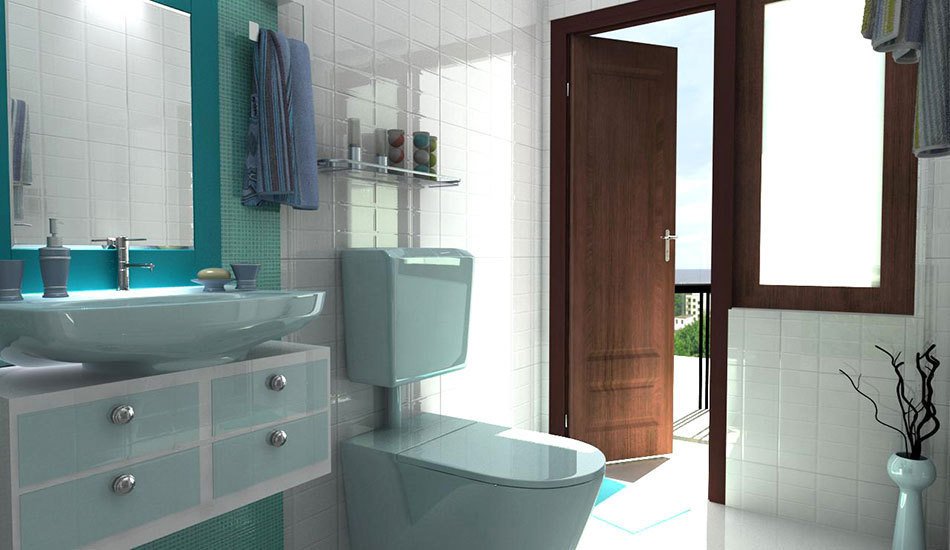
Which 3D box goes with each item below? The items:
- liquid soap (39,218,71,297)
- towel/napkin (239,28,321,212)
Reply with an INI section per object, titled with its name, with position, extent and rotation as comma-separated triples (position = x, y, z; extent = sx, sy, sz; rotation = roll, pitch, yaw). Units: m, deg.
[liquid soap]
position = -1.473, -0.064, 2.273
extent = 0.090, 0.274, 0.147
rotation = -3, 5, -33
[towel/napkin]
position = -0.800, -0.636, 2.633
extent = 0.293, 0.719, 0.135
rotation = -1, 5, -17
